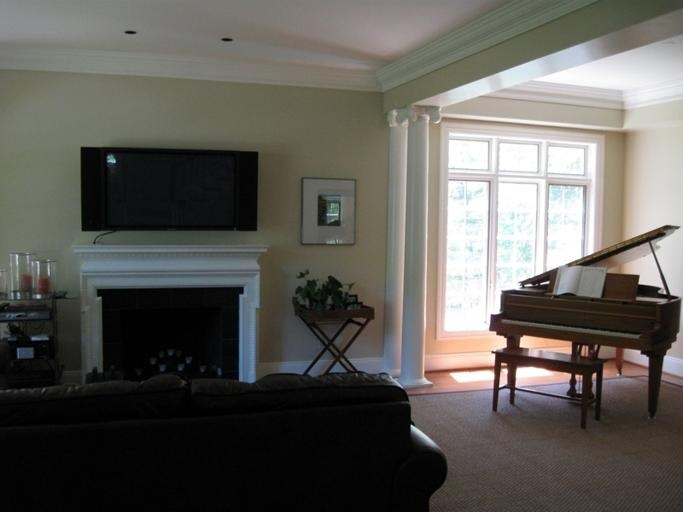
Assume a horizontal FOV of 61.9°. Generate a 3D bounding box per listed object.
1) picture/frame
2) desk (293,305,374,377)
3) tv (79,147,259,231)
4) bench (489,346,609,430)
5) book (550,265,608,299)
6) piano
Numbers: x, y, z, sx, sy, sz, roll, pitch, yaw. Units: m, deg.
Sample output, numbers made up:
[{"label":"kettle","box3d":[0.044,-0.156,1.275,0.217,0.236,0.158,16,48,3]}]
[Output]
[{"label":"picture/frame","box3d":[-0.175,-0.503,6.131,0.719,0.864,0.084,0,1,-17]},{"label":"desk","box3d":[-0.101,0.903,6.071,0.579,0.724,0.698,4,-3,-36]},{"label":"tv","box3d":[-1.699,-0.665,5.659,1.639,0.849,0.136,-1,-13,-11]},{"label":"bench","box3d":[1.900,1.206,5.329,0.865,0.565,0.433,2,0,40]},{"label":"book","box3d":[2.250,0.227,5.315,0.434,0.317,0.075,5,-19,34]},{"label":"piano","box3d":[2.464,0.656,5.872,1.436,1.818,1.989,-3,-4,39]}]
